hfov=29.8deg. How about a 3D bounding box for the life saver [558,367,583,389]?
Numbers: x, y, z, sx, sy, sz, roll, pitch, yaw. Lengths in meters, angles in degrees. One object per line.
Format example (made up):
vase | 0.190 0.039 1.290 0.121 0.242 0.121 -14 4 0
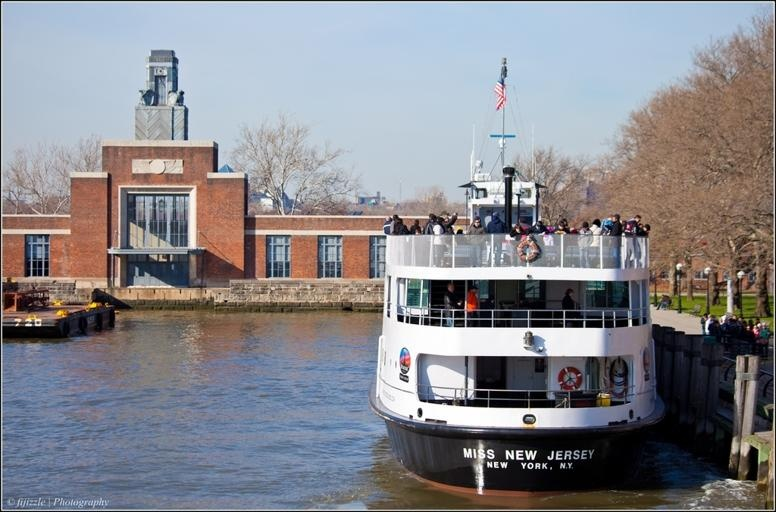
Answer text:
life saver | 8.225 5.570 66.363 0.795 0.775 0.115 -25 -2 -5
